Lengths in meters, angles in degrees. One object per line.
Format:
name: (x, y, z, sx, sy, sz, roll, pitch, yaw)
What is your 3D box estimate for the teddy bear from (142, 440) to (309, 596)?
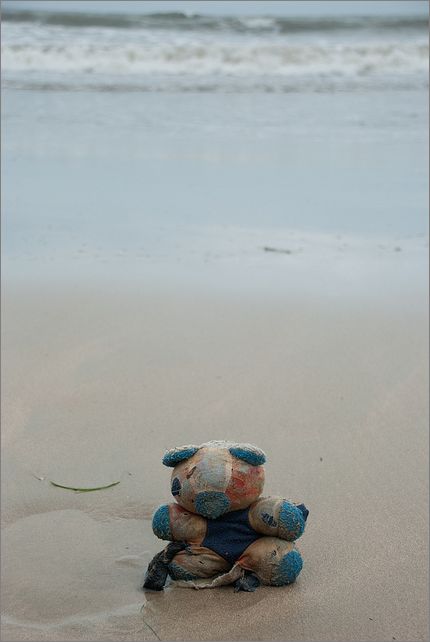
teddy bear: (0.049, 0.875, 3.472, 0.708, 0.573, 0.432, 1, 20, 6)
